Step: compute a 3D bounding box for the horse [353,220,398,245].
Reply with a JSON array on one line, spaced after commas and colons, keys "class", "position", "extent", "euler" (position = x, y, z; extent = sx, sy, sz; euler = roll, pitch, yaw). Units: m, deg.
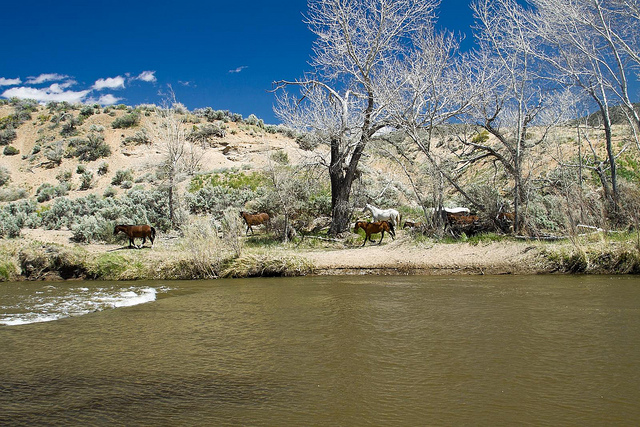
[{"class": "horse", "position": [2.496, 0.867, 23.491], "extent": [1.673, 0.987, 2.688], "euler": [-5, -4, 3]}]

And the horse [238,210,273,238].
[{"class": "horse", "position": [-3.147, 0.551, 26.498], "extent": [1.504, 1.337, 2.434], "euler": [-4, -4, -6]}]

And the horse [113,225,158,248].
[{"class": "horse", "position": [-7.973, 0.945, 22.223], "extent": [1.742, 1.015, 1.083], "euler": [-5, -4, 6]}]

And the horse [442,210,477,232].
[{"class": "horse", "position": [6.061, 0.281, 22.657], "extent": [1.341, 0.961, 2.613], "euler": [-6, -4, 21]}]
